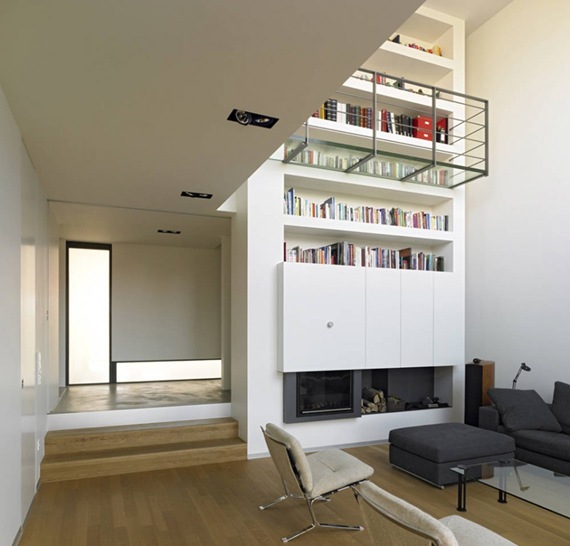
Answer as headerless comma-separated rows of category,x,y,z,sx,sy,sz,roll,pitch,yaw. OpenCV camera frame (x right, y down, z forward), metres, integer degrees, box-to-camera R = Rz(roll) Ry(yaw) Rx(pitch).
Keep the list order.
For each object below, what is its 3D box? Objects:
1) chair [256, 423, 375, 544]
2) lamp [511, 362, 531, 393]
chair,0.212,1.602,4.284,0.859,0.764,0.811,0,-2,-16
lamp,3.005,1.323,6.455,0.193,0.528,0.203,-1,21,17
